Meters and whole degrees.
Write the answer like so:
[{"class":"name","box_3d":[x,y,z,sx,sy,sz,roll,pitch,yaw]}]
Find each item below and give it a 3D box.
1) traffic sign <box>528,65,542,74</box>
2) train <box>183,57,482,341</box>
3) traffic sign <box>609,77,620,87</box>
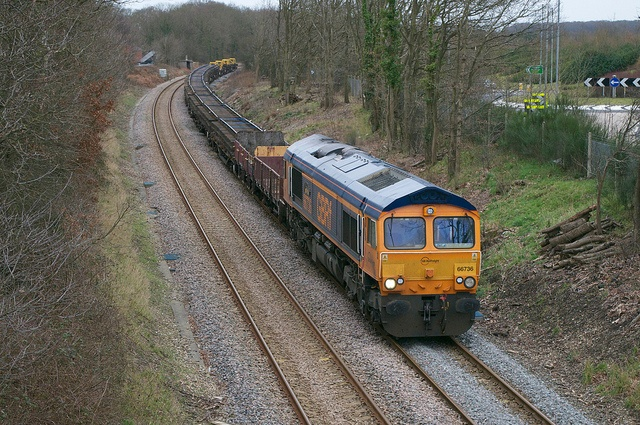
[{"class":"traffic sign","box_3d":[13.774,-9.255,37.243,0.899,0.716,0.047,1,13,14]},{"class":"train","box_3d":[-2.084,-3.959,36.227,4.208,4.486,39.164,-5,19,-13]},{"class":"traffic sign","box_3d":[15.912,-7.088,31.430,0.142,0.634,0.585,6,1,-41]}]
